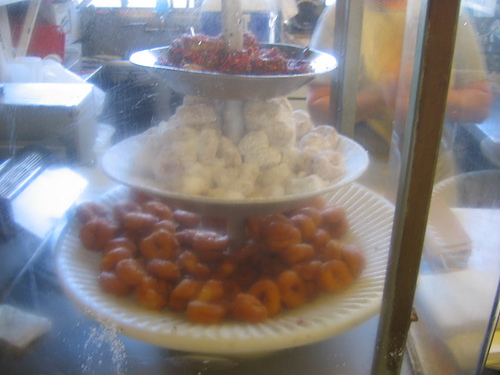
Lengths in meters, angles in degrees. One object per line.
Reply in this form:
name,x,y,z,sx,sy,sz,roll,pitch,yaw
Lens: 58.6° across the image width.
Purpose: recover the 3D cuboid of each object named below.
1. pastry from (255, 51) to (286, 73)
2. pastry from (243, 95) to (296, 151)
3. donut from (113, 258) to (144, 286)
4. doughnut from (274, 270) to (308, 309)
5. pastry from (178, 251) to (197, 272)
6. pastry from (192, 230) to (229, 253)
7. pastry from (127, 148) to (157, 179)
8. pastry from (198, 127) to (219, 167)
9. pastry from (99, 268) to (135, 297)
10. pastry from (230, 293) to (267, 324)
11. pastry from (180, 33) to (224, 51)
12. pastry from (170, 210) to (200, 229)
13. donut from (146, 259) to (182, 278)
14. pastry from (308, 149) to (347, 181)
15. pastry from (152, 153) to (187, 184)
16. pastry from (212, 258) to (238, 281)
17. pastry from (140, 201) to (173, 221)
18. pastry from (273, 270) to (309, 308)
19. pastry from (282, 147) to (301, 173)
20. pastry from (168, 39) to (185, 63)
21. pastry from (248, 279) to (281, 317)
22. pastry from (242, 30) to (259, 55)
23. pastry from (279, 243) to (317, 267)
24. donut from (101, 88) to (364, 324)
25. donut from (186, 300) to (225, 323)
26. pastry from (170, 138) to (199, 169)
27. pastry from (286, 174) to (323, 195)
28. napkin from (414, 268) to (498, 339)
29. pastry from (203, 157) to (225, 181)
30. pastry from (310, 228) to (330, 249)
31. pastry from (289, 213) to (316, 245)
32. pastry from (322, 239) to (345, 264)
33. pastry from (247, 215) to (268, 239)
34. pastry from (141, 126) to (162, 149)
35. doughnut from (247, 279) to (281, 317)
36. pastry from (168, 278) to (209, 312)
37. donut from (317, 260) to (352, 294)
pastry,0.024,-0.149,0.528,0.026,0.011,0.033,2,32,0
pastry,0.025,-0.070,0.554,0.061,0.068,0.017,1,-8,-2
donut,-0.153,0.106,0.562,0.030,0.015,0.032,24,29,-25
doughnut,0.054,0.131,0.570,0.042,0.047,0.015,1,-12,-30
pastry,-0.081,0.094,0.572,0.018,0.025,0.013,-26,-10,-23
pastry,-0.051,0.071,0.576,0.034,0.013,0.027,10,19,-2
pastry,-0.131,-0.029,0.538,0.032,0.037,0.012,12,13,4
pastry,-0.050,-0.049,0.527,0.021,0.048,0.012,7,-7,-6
pastry,-0.168,0.121,0.575,0.040,0.034,0.024,12,9,2
pastry,-0.005,0.149,0.582,0.026,0.032,0.041,-52,35,-13
pastry,-0.059,-0.172,0.524,0.032,0.011,0.026,21,36,15
pastry,-0.084,0.043,0.578,0.035,0.020,0.012,27,-12,-12
donut,-0.109,0.102,0.561,0.038,0.022,0.011,14,-18,5
pastry,0.096,-0.029,0.553,0.037,0.021,0.041,7,48,-8
pastry,-0.102,-0.022,0.529,0.033,0.036,0.008,4,5,12
pastry,-0.031,0.106,0.567,0.031,0.022,0.015,-25,44,-38
pastry,-0.119,0.028,0.569,0.026,0.027,0.009,1,56,39
pastry,0.057,0.136,0.589,0.053,0.020,0.055,-16,17,21
pastry,0.051,-0.034,0.543,0.025,0.026,0.007,-20,7,-19
pastry,-0.089,-0.159,0.522,0.019,0.027,0.008,5,1,8
pastry,0.023,0.148,0.580,0.016,0.050,0.049,-34,-16,15
pastry,0.002,-0.171,0.532,0.020,0.029,0.010,-7,0,-9
pastry,0.061,0.087,0.581,0.034,0.019,0.031,-23,8,0
donut,-0.027,0.017,0.640,0.289,0.228,0.290,-11,24,-18
donut,-0.056,0.157,0.556,0.043,0.024,0.021,2,-12,-5
pastry,-0.078,-0.038,0.523,0.027,0.036,0.021,2,-1,-1
pastry,0.066,-0.004,0.536,0.039,0.021,0.014,-12,-4,3
napkin,0.289,0.164,0.629,0.098,0.110,0.032,-12,5,0
pastry,-0.040,-0.021,0.526,0.018,0.024,0.008,8,-14,-12
pastry,0.096,0.070,0.614,0.023,0.013,0.019,-44,51,-8
pastry,0.073,0.052,0.591,0.033,0.035,0.018,-22,-13,-41
pastry,0.110,0.083,0.587,0.024,0.032,0.013,2,-5,-17
pastry,0.008,0.050,0.580,0.026,0.029,0.008,-4,4,-27
pastry,-0.119,-0.058,0.533,0.021,0.027,0.009,9,1,19
doughnut,0.019,0.137,0.566,0.039,0.042,0.014,-27,-6,7
pastry,-0.081,0.140,0.585,0.040,0.030,0.085,2,3,-1
donut,0.110,0.115,0.581,0.038,0.042,0.014,9,-7,-15
